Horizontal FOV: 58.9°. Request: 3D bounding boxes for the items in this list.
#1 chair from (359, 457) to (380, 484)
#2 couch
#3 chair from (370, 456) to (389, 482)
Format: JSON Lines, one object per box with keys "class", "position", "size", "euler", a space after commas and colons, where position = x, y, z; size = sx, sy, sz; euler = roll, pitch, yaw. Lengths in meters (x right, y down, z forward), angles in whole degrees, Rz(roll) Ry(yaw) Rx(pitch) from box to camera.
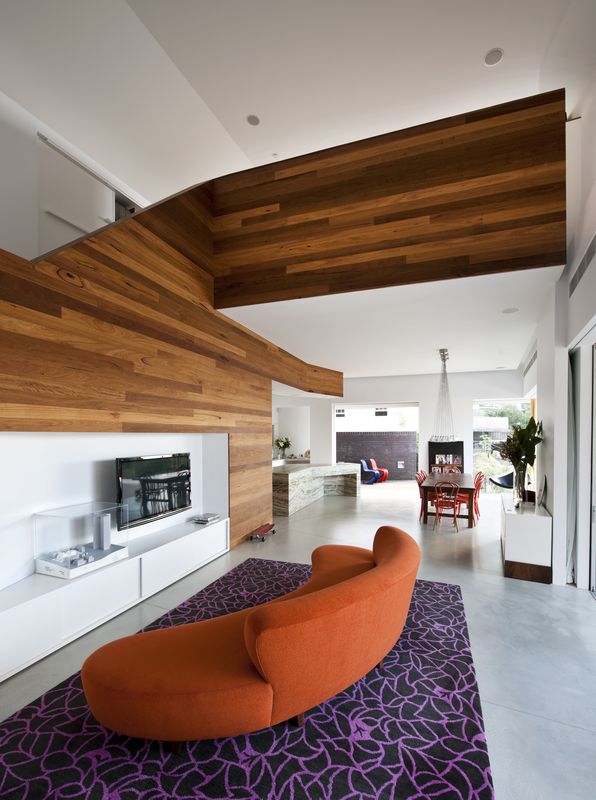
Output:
{"class": "chair", "position": [1.745, 1.768, 13.070], "size": [0.411, 0.579, 0.774], "euler": [-2, -2, 22]}
{"class": "couch", "position": [-0.196, 1.081, 2.385], "size": [1.457, 0.633, 0.800], "euler": [0, 0, 7]}
{"class": "chair", "position": [2.010, 1.797, 13.480], "size": [0.604, 0.663, 0.329], "euler": [-1, -2, 36]}
